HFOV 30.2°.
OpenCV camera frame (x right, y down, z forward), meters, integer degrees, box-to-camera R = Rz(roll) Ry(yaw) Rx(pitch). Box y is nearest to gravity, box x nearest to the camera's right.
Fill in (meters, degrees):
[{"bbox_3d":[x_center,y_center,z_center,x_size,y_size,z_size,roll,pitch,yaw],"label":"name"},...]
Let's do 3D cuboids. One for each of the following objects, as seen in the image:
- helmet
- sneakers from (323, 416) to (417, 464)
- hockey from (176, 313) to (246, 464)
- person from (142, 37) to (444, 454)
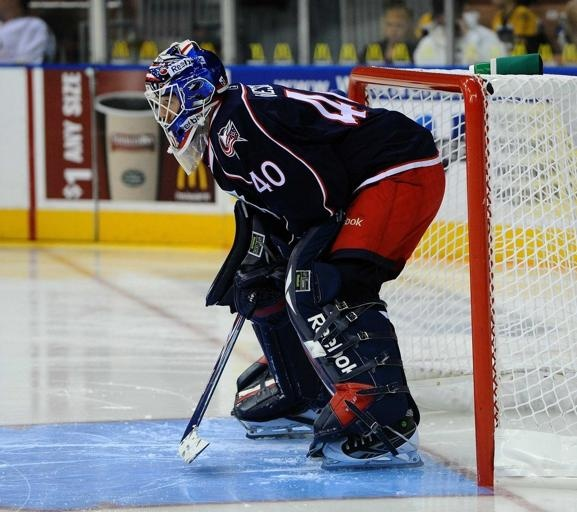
[{"bbox_3d":[-0.358,-0.544,3.949,0.338,0.448,0.330,-2,12,36],"label":"helmet"},{"bbox_3d":[0.298,0.650,3.811,0.403,0.174,0.133,0,2,-2],"label":"sneakers"},{"bbox_3d":[-0.273,0.463,3.801,0.169,0.781,0.042,21,35,-6],"label":"hockey"},{"bbox_3d":[0.056,-0.013,4.038,1.239,1.461,1.158,-1,-4,-14],"label":"person"}]
